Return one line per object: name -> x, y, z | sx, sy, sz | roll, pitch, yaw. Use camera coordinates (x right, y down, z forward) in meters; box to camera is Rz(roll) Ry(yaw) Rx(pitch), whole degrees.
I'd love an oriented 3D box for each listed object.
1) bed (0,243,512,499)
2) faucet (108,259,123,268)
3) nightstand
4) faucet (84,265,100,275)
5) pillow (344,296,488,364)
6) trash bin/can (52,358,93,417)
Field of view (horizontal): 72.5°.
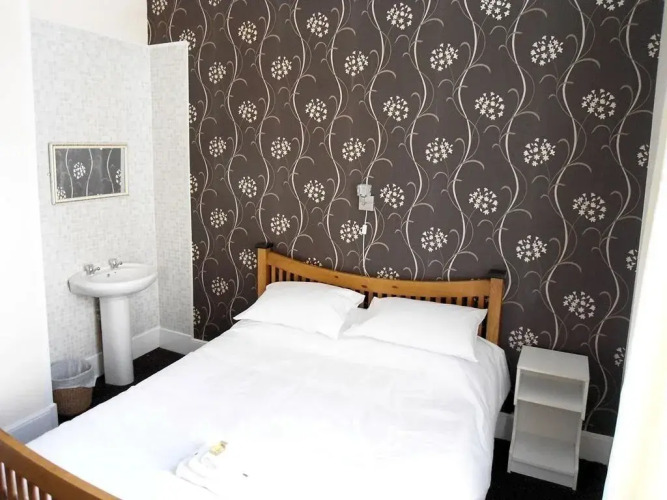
bed -> 0.102, 0.810, 3.222 | 1.969, 1.009, 1.660 | 11, 17, 32
faucet -> -1.860, 0.109, 3.909 | 0.059, 0.063, 0.106 | 1, 6, 1
nightstand -> 1.458, 1.128, 3.097 | 0.390, 0.773, 0.383 | 6, 17, 28
faucet -> -1.986, 0.160, 3.788 | 0.088, 0.075, 0.047 | 16, 21, 37
pillow -> 0.589, 0.499, 3.138 | 0.690, 0.164, 0.490 | 6, 44, 28
trash bin/can -> -2.036, 1.117, 3.607 | 0.331, 0.292, 0.306 | -2, 0, -28
